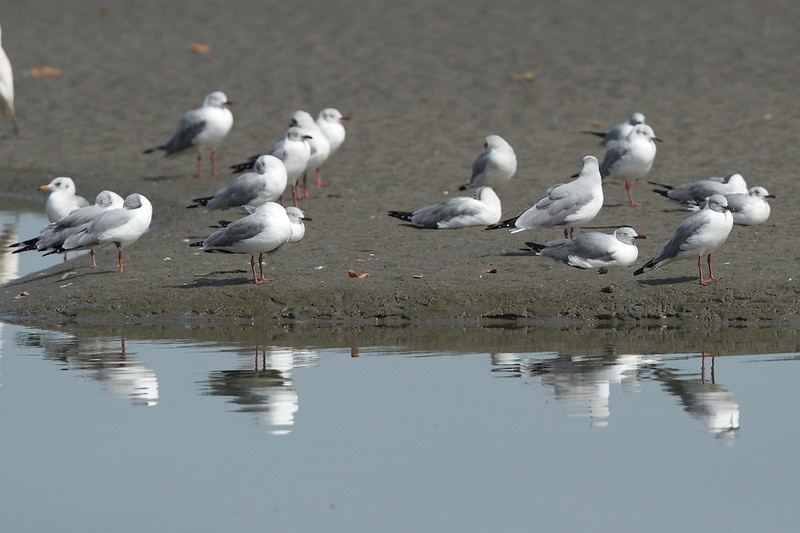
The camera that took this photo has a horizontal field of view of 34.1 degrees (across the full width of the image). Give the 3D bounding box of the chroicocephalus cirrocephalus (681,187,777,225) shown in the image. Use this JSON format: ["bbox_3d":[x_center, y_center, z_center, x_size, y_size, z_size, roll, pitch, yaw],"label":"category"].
[{"bbox_3d":[6.502,-1.166,24.472,0.876,0.716,1.284,-6,17,-26],"label":"chroicocephalus cirrocephalus"}]
